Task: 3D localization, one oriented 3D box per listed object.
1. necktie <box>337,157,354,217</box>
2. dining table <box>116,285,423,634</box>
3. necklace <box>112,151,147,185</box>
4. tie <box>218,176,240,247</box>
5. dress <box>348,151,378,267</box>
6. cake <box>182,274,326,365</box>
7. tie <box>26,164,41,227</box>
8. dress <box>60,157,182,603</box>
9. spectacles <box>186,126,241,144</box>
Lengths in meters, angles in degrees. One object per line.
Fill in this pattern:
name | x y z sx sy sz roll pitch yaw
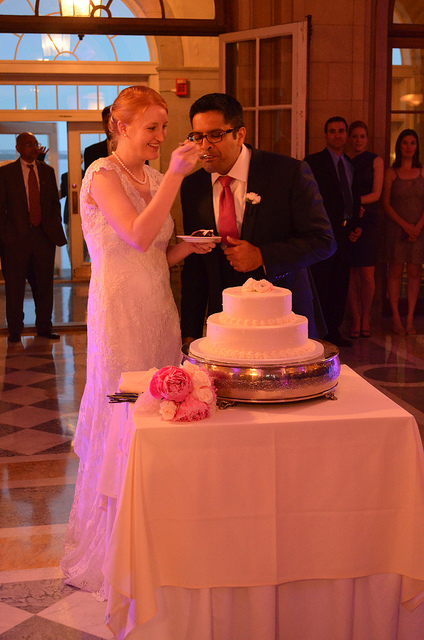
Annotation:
necktie | 1.341 -1.329 5.863 0.101 0.590 0.173 6 12 43
dining table | 0.158 0.329 1.606 0.873 0.717 0.815 -1 11 -4
necklace | -0.269 -0.516 2.009 0.006 0.132 0.102 -46 45 -4
tie | 0.060 -0.418 2.174 0.075 0.235 0.104 -2 9 1
dress | 1.624 -1.180 6.253 0.277 1.236 0.261 0 9 13
cake | 0.120 -0.009 1.554 0.341 0.185 0.335 -2 10 -16
tie | -2.012 -1.393 6.535 0.132 0.679 0.189 -4 9 -14
dress | -0.359 0.197 2.051 0.506 1.484 0.463 -3 9 -4
spectacles | 0.011 -0.639 2.015 0.159 0.061 0.075 -1 9 4
